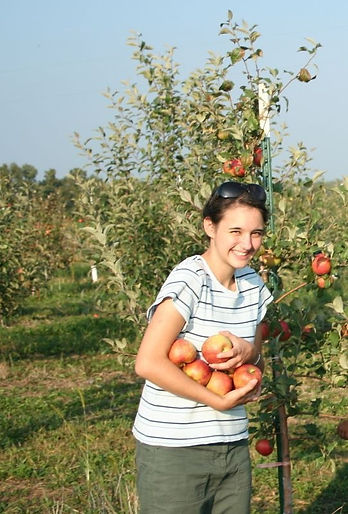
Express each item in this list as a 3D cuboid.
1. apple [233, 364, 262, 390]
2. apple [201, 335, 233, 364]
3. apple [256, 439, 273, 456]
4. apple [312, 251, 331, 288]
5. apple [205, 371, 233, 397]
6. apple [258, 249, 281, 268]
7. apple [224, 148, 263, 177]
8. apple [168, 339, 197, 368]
[{"bbox_3d":[0.225,0.365,1.471,0.078,0.087,0.078,7,13,5],"label":"apple"},{"bbox_3d":[0.129,0.281,1.459,0.090,0.084,0.091,-3,0,40],"label":"apple"},{"bbox_3d":[0.482,1.041,2.516,0.086,0.081,0.090,-2,6,28],"label":"apple"},{"bbox_3d":[0.709,0.068,2.230,0.074,0.175,0.139,-1,3,-21],"label":"apple"},{"bbox_3d":[0.128,0.390,1.453,0.071,0.063,0.079,-8,-14,-27],"label":"apple"},{"bbox_3d":[0.512,0.015,2.454,0.083,0.056,0.104,1,4,2],"label":"apple"},{"bbox_3d":[0.382,-0.483,2.477,0.141,0.106,0.235,-6,22,37],"label":"apple"},{"bbox_3d":[0.024,0.281,1.354,0.083,0.084,0.083,1,-11,1],"label":"apple"}]
